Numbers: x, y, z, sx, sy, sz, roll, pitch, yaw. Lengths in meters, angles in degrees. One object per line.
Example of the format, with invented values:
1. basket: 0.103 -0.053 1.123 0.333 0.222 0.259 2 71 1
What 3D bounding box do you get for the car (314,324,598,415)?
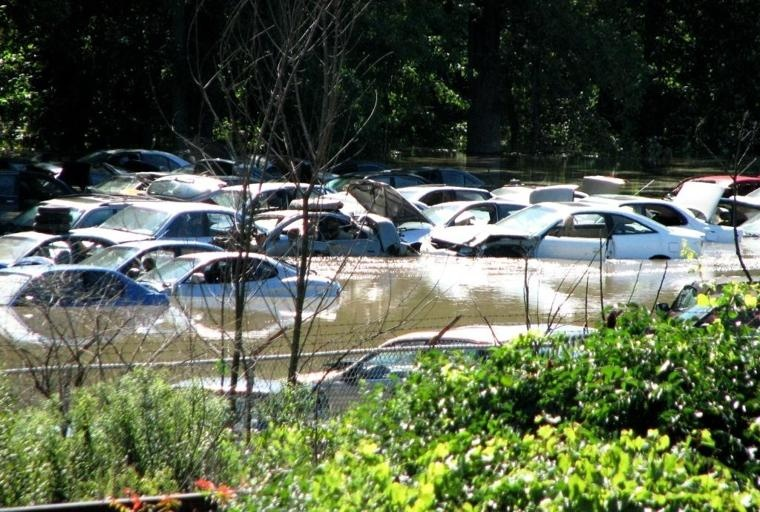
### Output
1. car: 0.970 1.758 11.349 3.314 1.146 1.500 -2 3 15
